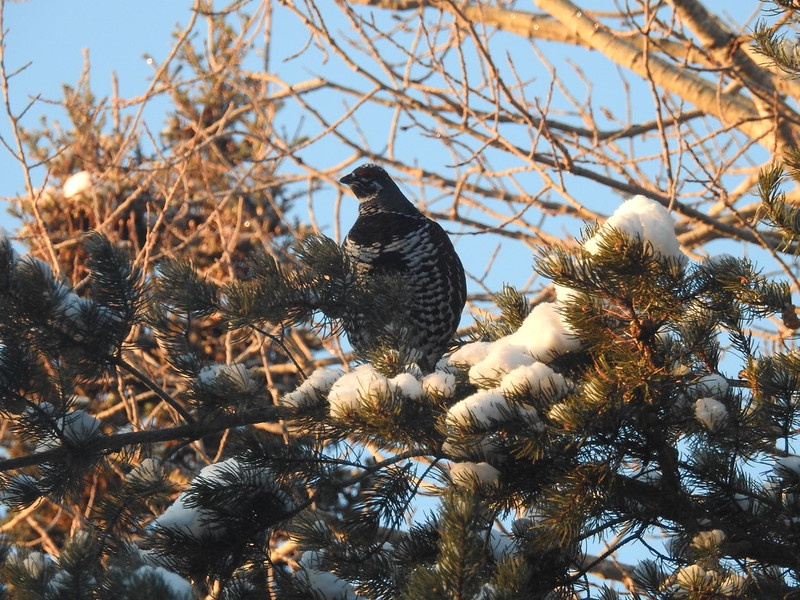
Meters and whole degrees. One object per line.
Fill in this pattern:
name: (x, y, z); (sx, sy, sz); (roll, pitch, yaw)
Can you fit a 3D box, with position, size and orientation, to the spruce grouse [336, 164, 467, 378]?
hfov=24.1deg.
spruce grouse: (0.007, -0.067, 9.367); (0.822, 0.990, 0.488); (16, -39, -14)
